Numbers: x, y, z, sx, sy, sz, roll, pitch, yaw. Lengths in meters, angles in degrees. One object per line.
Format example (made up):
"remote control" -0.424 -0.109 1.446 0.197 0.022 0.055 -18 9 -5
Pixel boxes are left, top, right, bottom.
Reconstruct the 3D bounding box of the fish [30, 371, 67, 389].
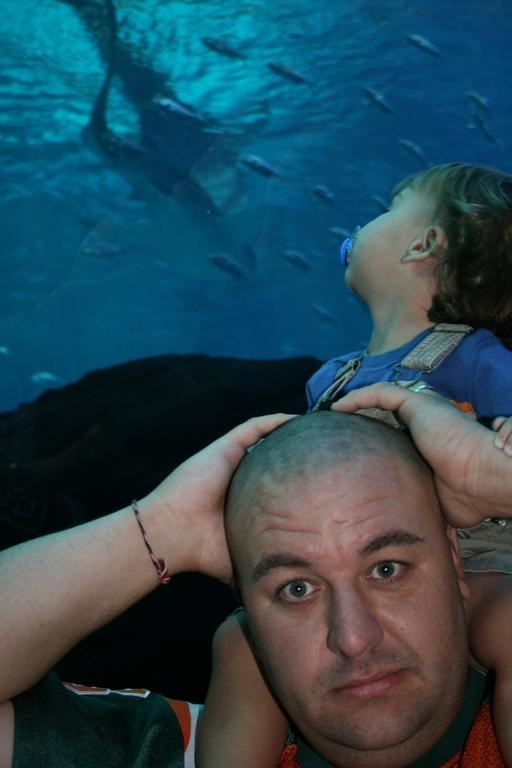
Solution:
"fish" -0.885 -0.021 2.996 0.183 0.074 0.052 10 -7 1

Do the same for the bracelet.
"bracelet" -0.298 0.447 1.973 0.056 0.195 0.164 -30 4 7
